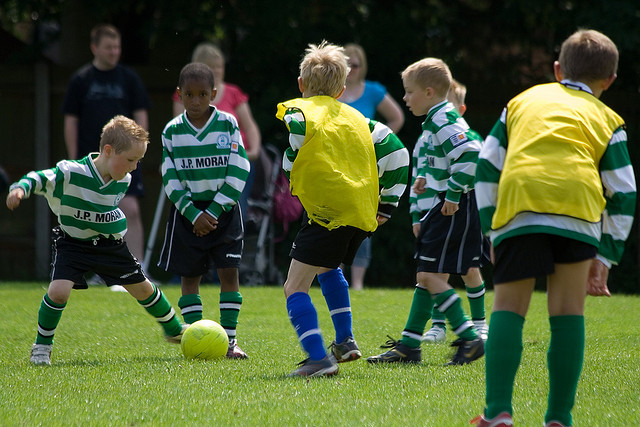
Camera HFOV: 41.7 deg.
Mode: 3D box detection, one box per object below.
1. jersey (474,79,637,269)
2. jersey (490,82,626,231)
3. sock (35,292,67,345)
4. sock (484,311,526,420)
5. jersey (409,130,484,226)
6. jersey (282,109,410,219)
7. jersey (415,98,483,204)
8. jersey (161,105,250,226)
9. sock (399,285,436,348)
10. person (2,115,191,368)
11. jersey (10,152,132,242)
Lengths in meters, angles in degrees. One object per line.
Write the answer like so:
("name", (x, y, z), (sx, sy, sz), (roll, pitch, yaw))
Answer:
("jersey", (1.437, -0.355, 5.449), (1.304, 1.480, 0.740), (5, -25, 14))
("jersey", (1.419, -0.340, 5.063), (0.727, 0.906, 0.389), (3, 5, 12))
("sock", (-2.012, 0.754, 6.289), (0.194, 0.389, 0.479), (2, -2, -33))
("sock", (1.074, 0.880, 4.968), (0.216, 0.614, 0.210), (3, 5, 13))
("jersey", (0.967, -0.257, 6.381), (0.360, 0.803, 1.109), (1, 1, 20))
("jersey", (0.162, -0.339, 6.126), (0.954, 0.821, 0.346), (-1, -26, 0))
("jersey", (0.987, -0.478, 6.450), (0.639, 0.771, 0.445), (5, 6, 36))
("jersey", (-0.902, -0.364, 6.579), (0.658, 0.957, 0.488), (-2, -2, -2))
("sock", (0.747, 0.773, 6.482), (0.186, 0.441, 0.362), (4, 5, 28))
("person", (-1.676, 0.180, 6.290), (1.217, 1.794, 0.359), (0, 5, -22))
("jersey", (-1.810, -0.116, 6.225), (0.795, 0.655, 0.254), (0, 5, -22))
